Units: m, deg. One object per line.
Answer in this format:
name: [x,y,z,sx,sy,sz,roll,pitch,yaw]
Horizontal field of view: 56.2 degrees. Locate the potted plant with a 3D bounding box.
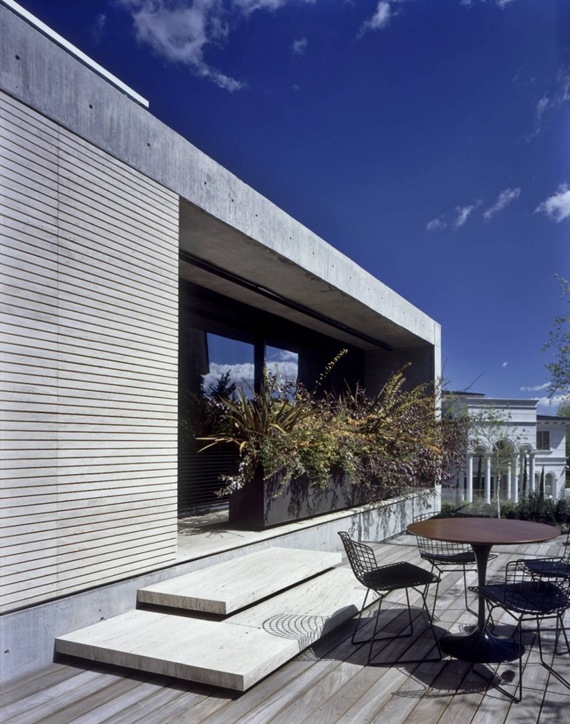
potted plant: [0.439,0.886,6.567,2.027,1.318,3.596,-7,-16,30]
